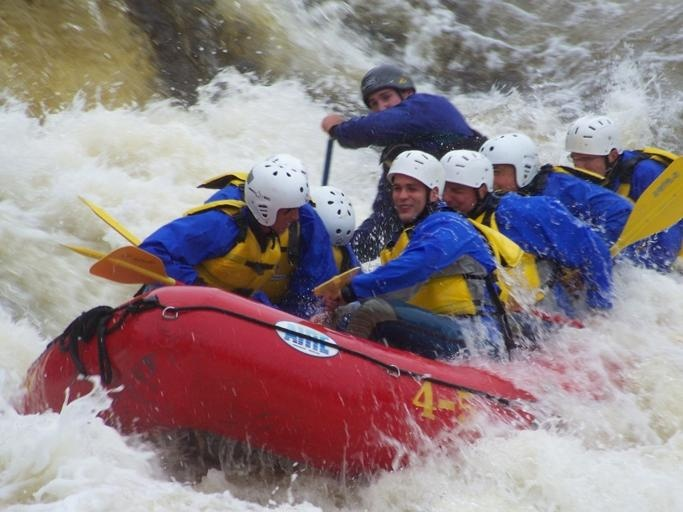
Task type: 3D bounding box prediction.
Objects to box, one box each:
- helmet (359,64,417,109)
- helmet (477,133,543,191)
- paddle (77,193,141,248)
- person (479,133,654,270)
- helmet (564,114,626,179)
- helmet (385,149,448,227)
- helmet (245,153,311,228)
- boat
[{"bbox_3d":[0.432,-1.574,8.466,0.495,0.339,0.354,-9,9,-34],"label":"helmet"},{"bbox_3d":[1.358,-0.774,7.719,0.526,0.356,0.378,-6,15,-28],"label":"helmet"},{"bbox_3d":[-2.091,-0.297,8.486,0.878,0.039,0.113,43,67,-9],"label":"paddle"},{"bbox_3d":[1.674,-0.490,7.599,1.210,0.501,0.784,23,7,-14],"label":"person"},{"bbox_3d":[2.211,-0.982,8.444,0.532,0.530,0.447,-5,12,-45],"label":"helmet"},{"bbox_3d":[0.510,-0.481,7.023,0.504,0.541,0.447,13,-11,-36],"label":"helmet"},{"bbox_3d":[-0.469,-0.483,7.017,0.522,0.438,0.400,13,36,13],"label":"helmet"},{"bbox_3d":[-0.478,0.835,6.226,2.484,0.542,1.441,19,-12,-14],"label":"boat"}]
